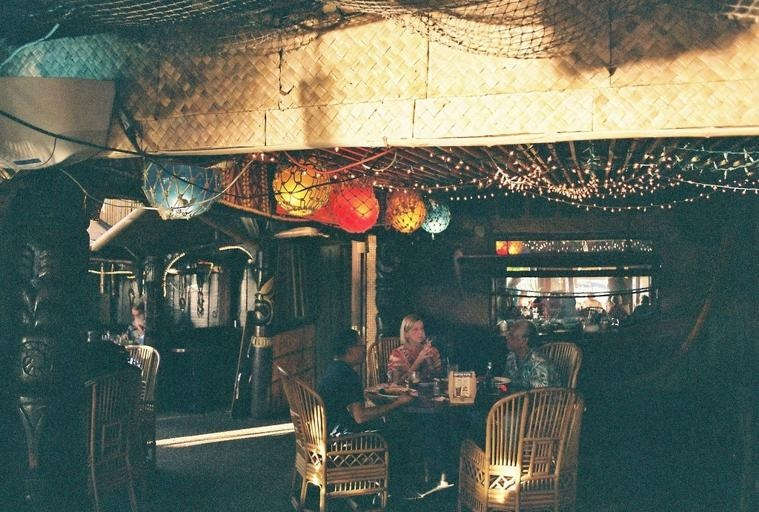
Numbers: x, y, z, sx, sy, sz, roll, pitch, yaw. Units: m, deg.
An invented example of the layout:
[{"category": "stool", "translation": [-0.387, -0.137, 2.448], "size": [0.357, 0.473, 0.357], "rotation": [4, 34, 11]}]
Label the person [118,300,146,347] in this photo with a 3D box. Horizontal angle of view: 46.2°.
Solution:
[{"category": "person", "translation": [-3.673, 0.984, 13.228], "size": [0.370, 0.621, 1.089], "rotation": [1, -2, -15]}]

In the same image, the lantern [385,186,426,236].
[{"category": "lantern", "translation": [0.320, -0.548, 10.891], "size": [0.483, 0.625, 0.513], "rotation": [-2, -3, 14]}]

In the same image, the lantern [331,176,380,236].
[{"category": "lantern", "translation": [-0.286, -0.573, 10.078], "size": [0.531, 0.627, 0.526], "rotation": [-2, -2, 14]}]

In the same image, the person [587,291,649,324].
[{"category": "person", "translation": [3.704, 0.781, 13.742], "size": [0.942, 0.427, 0.210], "rotation": [0, -2, 4]}]

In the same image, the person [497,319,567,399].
[{"category": "person", "translation": [1.667, 1.163, 9.942], "size": [0.609, 0.972, 0.961], "rotation": [0, -3, 10]}]

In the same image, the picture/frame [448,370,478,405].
[{"category": "picture/frame", "translation": [0.862, 1.423, 9.613], "size": [0.440, 0.465, 0.264], "rotation": [0, -12, 3]}]

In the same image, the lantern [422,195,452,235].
[{"category": "lantern", "translation": [0.722, -0.567, 12.068], "size": [0.289, 0.447, 0.617], "rotation": [-1, -3, 34]}]

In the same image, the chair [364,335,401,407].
[{"category": "chair", "translation": [0.071, 1.381, 11.182], "size": [0.509, 0.884, 0.562], "rotation": [-2, -1, 19]}]

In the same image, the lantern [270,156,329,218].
[{"category": "lantern", "translation": [-0.836, -0.710, 9.520], "size": [0.519, 0.426, 0.526], "rotation": [5, -12, -15]}]

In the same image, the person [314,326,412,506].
[{"category": "person", "translation": [-0.322, 1.340, 9.247], "size": [1.030, 1.863, 0.889], "rotation": [-1, -4, -18]}]
